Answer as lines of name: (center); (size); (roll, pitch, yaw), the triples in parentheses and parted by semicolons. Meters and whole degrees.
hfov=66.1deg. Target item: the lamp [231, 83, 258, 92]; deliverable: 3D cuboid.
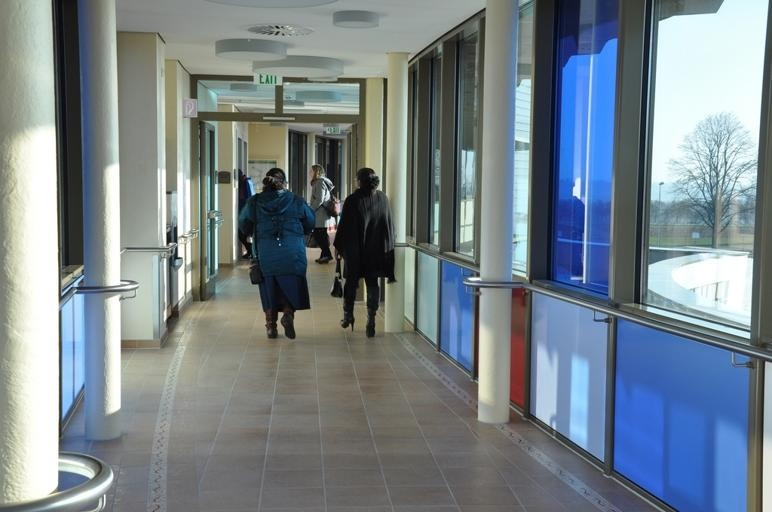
lamp: (-2.567, -3.019, 10.627); (0.440, 0.137, 0.118); (2, 6, 10)

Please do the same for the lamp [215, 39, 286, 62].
lamp: (-1.783, -2.721, 7.755); (0.921, 0.264, 0.456); (1, 6, 7)

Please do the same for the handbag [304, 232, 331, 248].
handbag: (-1.811, -0.351, 15.334); (0.522, 0.539, 0.544); (1, 4, 26)

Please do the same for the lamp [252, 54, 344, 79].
lamp: (-1.299, -2.826, 8.681); (1.253, 0.265, 0.764); (-3, 7, -29)

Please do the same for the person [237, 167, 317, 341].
person: (-1.489, -0.031, 8.235); (0.956, 2.341, 0.608); (0, 5, -8)

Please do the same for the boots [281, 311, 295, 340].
boots: (-1.351, 0.960, 8.144); (0.145, 0.430, 0.181); (-4, -7, 10)

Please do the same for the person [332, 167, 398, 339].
person: (-0.288, -0.021, 8.314); (0.835, 2.395, 0.517); (0, 5, -2)

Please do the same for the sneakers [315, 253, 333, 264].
sneakers: (-1.640, 0.085, 15.835); (0.226, 0.177, 0.510); (21, 7, 27)

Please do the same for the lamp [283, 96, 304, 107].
lamp: (-1.596, -2.681, 10.338); (0.338, 0.156, 0.130); (-1, 6, -11)
